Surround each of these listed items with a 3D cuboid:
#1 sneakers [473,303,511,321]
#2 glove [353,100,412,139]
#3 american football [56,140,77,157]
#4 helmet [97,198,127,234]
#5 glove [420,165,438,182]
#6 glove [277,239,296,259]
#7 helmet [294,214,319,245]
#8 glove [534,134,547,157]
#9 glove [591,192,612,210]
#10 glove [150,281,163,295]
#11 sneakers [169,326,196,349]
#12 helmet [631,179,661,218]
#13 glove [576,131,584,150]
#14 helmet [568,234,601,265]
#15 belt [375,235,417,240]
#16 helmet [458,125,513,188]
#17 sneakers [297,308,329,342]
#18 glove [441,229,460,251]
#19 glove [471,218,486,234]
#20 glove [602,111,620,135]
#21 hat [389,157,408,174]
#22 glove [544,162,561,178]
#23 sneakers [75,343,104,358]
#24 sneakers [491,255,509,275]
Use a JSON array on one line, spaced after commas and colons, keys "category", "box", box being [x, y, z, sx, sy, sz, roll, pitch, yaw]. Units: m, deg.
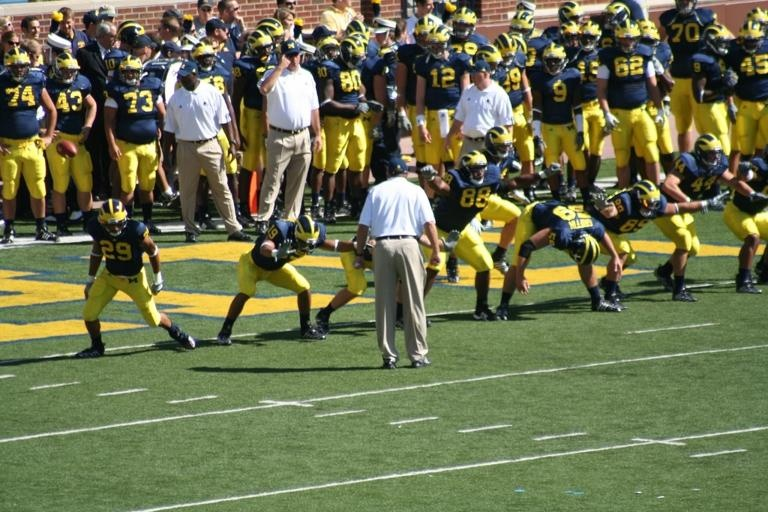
[{"category": "sneakers", "box": [1.211, 0.629, 11.678, 0.461, 0.175, 0.156, -2, 8, 1]}, {"category": "glove", "box": [-0.017, -2.137, 16.211, 0.596, 0.694, 0.262, 2, 40, 1]}, {"category": "american football", "box": [-4.558, -1.533, 15.165, 0.290, 0.212, 0.175, 36, -3, 27]}, {"category": "helmet", "box": [-2.673, -0.404, 10.363, 0.290, 0.345, 0.300, -9, -34, -11]}, {"category": "glove", "box": [0.470, -0.872, 10.998, 0.157, 0.092, 0.203, 42, 0, -6]}, {"category": "glove", "box": [-0.994, -0.077, 10.655, 0.133, 0.178, 0.054, 36, -6, -17]}, {"category": "helmet", "box": [-0.809, -0.264, 10.579, 0.251, 0.286, 0.260, 1, -4, -15]}, {"category": "glove", "box": [2.383, -1.694, 16.103, 0.129, 0.266, 0.242, 2, -5, -18]}, {"category": "glove", "box": [2.483, -0.637, 12.006, 0.230, 0.240, 0.332, 2, 15, 10]}, {"category": "glove", "box": [-2.330, 0.331, 10.741, 0.090, 0.085, 0.201, -33, -2, -17]}, {"category": "sneakers", "box": [-2.102, 0.860, 10.894, 0.286, 0.093, 0.122, 33, 38, -12]}, {"category": "helmet", "box": [3.011, -0.646, 11.996, 0.316, 0.414, 0.242, 2, 16, 11]}, {"category": "glove", "box": [2.967, -1.737, 15.821, 0.158, 0.192, 0.063, 8, 4, 39]}, {"category": "helmet", "box": [2.213, -0.058, 11.698, 0.289, 0.287, 0.365, 33, -20, -17]}, {"category": "belt", "box": [0.119, -0.173, 10.043, 0.390, 0.051, 0.077, -1, 15, 0]}, {"category": "helmet", "box": [1.351, -1.208, 12.314, 0.342, 0.608, 0.456, 1, 5, 45]}, {"category": "sneakers", "box": [-0.752, 0.725, 11.173, 0.273, 0.314, 0.204, -5, 16, -14]}, {"category": "glove", "box": [0.705, -0.159, 10.892, 0.148, 0.243, 0.096, 39, -14, 6]}, {"category": "glove", "box": [1.135, -0.359, 12.634, 0.073, 0.190, 0.152, -17, 29, 5]}, {"category": "glove", "box": [3.375, -1.975, 15.526, 0.216, 0.362, 0.423, 3, 15, 15]}, {"category": "hat", "box": [0.133, -0.886, 10.323, 0.201, 0.162, 0.294, -1, 15, 0]}, {"category": "glove", "box": [1.876, -0.952, 11.691, 0.189, 0.189, 0.402, 1, 15, 9]}, {"category": "sneakers", "box": [-2.947, 0.960, 10.597, 0.336, 0.121, 0.113, 2, 11, -9]}, {"category": "sneakers", "box": [1.467, 0.122, 13.016, 0.246, 0.206, 0.155, -7, 9, 14]}]
